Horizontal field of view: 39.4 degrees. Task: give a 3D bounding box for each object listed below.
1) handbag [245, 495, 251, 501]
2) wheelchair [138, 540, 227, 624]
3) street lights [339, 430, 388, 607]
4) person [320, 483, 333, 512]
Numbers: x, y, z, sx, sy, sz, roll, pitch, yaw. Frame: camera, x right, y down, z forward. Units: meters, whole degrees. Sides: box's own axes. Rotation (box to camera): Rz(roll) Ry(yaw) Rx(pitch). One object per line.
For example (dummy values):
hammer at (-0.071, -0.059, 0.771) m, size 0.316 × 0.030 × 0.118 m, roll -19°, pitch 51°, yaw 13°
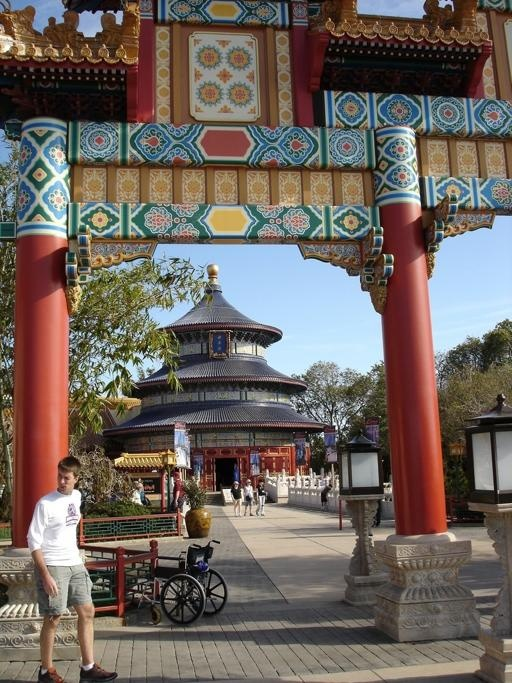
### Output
handbag at (-0.311, 6.642, 30.347) m, size 0.332 × 0.156 × 0.428 m, roll 1°, pitch -10°, yaw 2°
wheelchair at (-0.910, 2.839, 8.527) m, size 1.134 × 0.823 × 0.680 m, roll -5°, pitch -11°, yaw 30°
street lights at (1.353, 2.237, 9.147) m, size 0.574 × 2.060 × 0.992 m, roll -3°, pitch -6°, yaw 9°
person at (2.984, 6.634, 30.365) m, size 0.509 × 1.096 × 1.267 m, roll -3°, pitch -6°, yaw 6°
